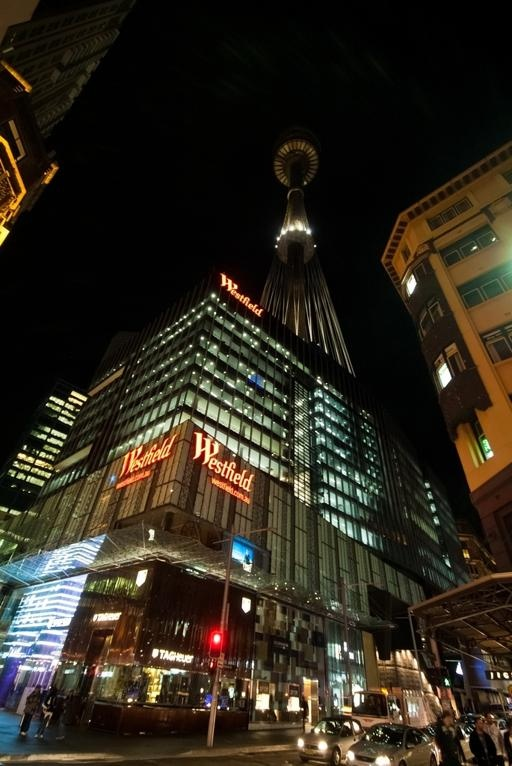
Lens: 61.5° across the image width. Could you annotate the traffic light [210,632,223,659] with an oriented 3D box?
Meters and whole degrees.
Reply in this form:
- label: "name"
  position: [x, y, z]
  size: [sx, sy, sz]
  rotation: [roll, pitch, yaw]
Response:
- label: "traffic light"
  position: [-1.812, 10.882, 17.865]
  size: [0.290, 0.968, 0.711]
  rotation: [-26, -46, 35]
